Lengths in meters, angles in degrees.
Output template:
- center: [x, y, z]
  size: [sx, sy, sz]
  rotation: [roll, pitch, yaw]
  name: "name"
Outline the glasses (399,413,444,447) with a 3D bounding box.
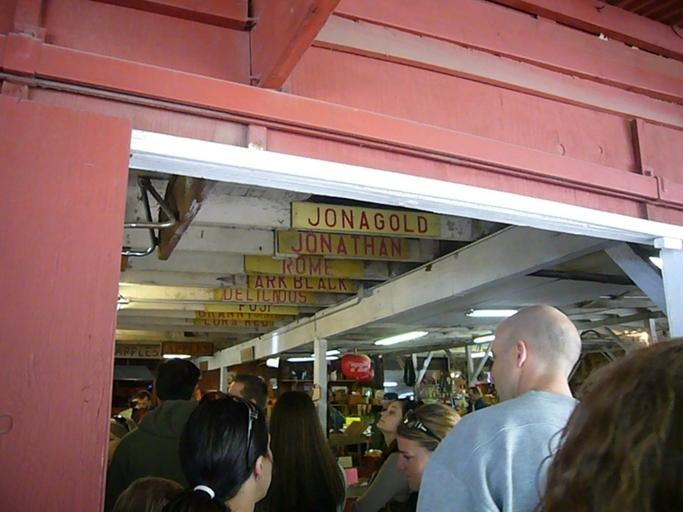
- center: [0.448, 0.984, 3.652]
  size: [0.184, 0.069, 0.158]
  rotation: [31, -18, 2]
  name: "glasses"
